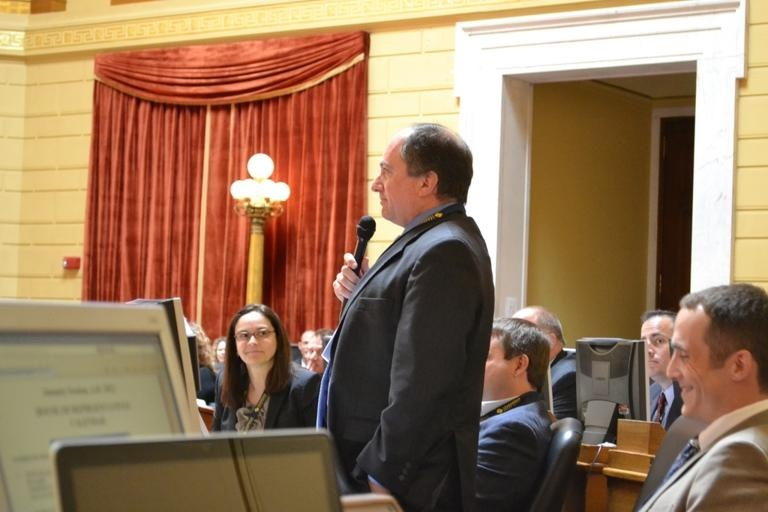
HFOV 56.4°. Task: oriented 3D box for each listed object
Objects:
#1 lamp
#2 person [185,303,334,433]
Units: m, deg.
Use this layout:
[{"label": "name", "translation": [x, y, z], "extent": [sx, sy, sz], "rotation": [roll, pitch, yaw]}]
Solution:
[{"label": "lamp", "translation": [-1.154, -0.243, 6.706], "extent": [0.541, 1.372, 0.391], "rotation": [-1, -1, 6]}, {"label": "person", "translation": [-0.655, 0.613, 3.932], "extent": [0.439, 0.970, 0.361], "rotation": [-10, -30, 20]}]
